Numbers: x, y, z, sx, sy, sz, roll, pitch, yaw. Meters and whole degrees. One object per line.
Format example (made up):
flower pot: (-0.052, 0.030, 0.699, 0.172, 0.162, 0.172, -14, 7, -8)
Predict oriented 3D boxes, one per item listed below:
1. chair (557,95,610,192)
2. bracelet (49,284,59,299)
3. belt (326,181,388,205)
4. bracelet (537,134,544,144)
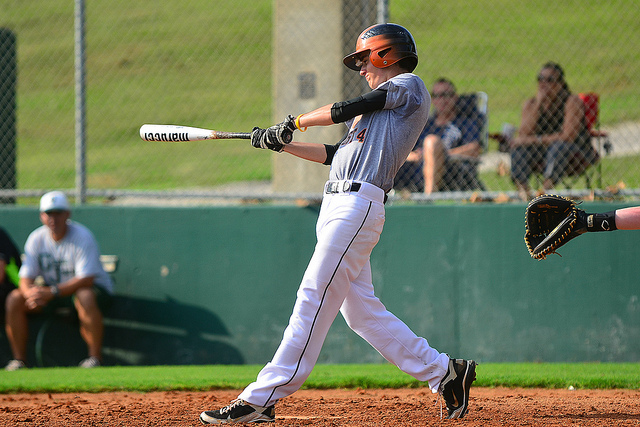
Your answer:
chair: (2.694, -0.750, 11.464, 0.565, 1.164, 0.556, -18, 22, -42)
bracelet: (-2.710, 0.794, 11.403, 0.025, 0.118, 0.107, -15, -19, -17)
belt: (0.314, -0.192, 9.764, 0.506, 0.168, 0.140, 3, 1, -4)
bracelet: (2.281, -0.770, 11.520, 0.054, 0.093, 0.015, 2, 1, 13)
